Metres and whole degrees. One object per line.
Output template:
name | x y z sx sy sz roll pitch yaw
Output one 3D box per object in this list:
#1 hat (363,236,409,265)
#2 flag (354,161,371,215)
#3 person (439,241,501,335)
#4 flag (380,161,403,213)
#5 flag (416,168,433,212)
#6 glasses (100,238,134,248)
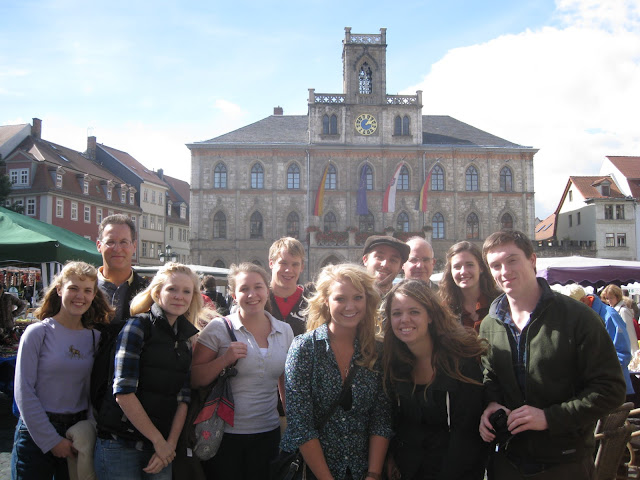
hat | 0.755 0.062 8.847 0.328 0.199 0.436 25 1 -13
flag | 2.147 -2.773 38.892 0.549 2.667 0.248 1 5 -28
person | 1.659 0.539 7.988 0.709 1.022 0.397 -18 -9 23
flag | 3.721 -2.805 38.087 0.740 3.161 0.140 -2 40 -5
flag | 5.746 -2.833 39.999 0.640 2.305 1.774 0 -2 7
glasses | -2.309 0.023 8.306 0.366 0.087 0.191 1 -3 -15
